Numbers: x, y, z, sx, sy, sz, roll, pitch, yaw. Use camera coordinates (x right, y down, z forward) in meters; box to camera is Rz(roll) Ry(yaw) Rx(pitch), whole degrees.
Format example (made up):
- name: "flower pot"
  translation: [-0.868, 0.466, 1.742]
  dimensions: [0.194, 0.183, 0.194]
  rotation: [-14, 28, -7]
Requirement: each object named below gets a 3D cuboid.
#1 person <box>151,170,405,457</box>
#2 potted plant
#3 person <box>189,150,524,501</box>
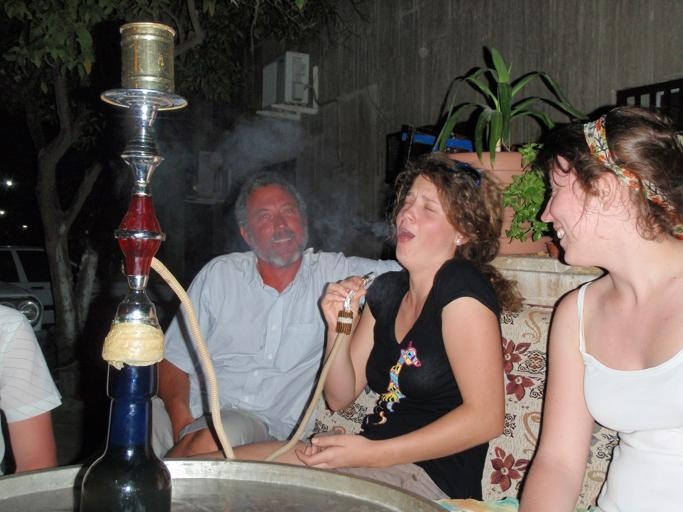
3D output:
- name: "person"
  translation: [-0.384, 0.357, 3.285]
  dimensions: [1.036, 0.738, 1.313]
  rotation: [1, 47, 2]
- name: "potted plant"
  translation: [0.791, -0.566, 3.076]
  dimensions: [0.412, 0.781, 0.544]
  rotation: [16, 24, 38]
- name: "person"
  translation: [0.268, 0.256, 2.524]
  dimensions: [0.755, 1.341, 0.750]
  rotation: [1, 5, 14]
